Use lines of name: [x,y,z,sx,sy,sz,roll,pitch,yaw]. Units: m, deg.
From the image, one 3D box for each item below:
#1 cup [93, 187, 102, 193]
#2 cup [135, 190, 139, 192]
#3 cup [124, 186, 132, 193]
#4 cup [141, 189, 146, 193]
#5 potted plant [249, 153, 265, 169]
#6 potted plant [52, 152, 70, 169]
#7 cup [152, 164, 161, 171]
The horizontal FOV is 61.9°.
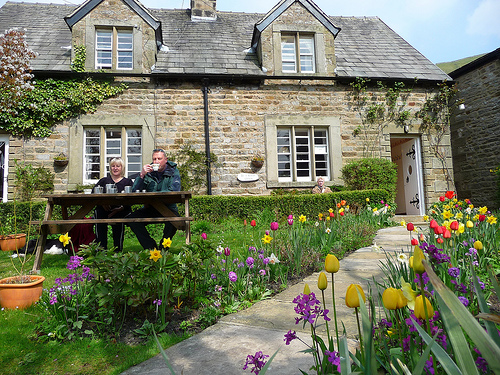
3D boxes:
cup: [-2.507,0.034,6.892,0.133,0.144,0.139,-1,0,0]
cup: [-1.835,0.051,6.865,0.039,0.041,0.042,0,-1,0]
cup: [-1.978,0.025,6.778,0.104,0.115,0.138,0,-6,-4]
cup: [-1.761,0.052,6.941,0.058,0.066,0.062,-1,-5,0]
potted plant: [0.188,-0.737,11.585,0.343,0.287,0.376,3,9,7]
potted plant: [-4.882,-0.709,10.864,0.367,0.451,0.384,4,-6,-27]
cup: [-1.476,-0.327,6.550,0.113,0.093,0.272,0,0,-15]
